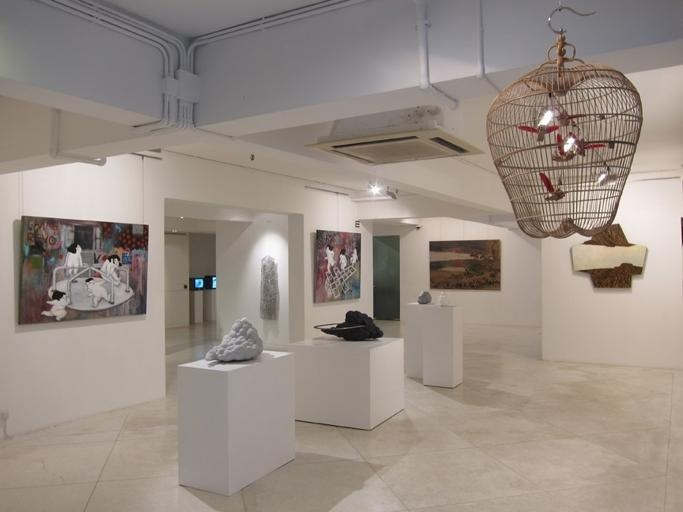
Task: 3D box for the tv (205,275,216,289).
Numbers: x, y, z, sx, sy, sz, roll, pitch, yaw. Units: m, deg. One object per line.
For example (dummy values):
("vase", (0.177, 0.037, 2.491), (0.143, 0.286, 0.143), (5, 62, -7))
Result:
("tv", (-4.565, 0.921, 15.946), (0.314, 0.494, 0.476), (0, -1, 27))
